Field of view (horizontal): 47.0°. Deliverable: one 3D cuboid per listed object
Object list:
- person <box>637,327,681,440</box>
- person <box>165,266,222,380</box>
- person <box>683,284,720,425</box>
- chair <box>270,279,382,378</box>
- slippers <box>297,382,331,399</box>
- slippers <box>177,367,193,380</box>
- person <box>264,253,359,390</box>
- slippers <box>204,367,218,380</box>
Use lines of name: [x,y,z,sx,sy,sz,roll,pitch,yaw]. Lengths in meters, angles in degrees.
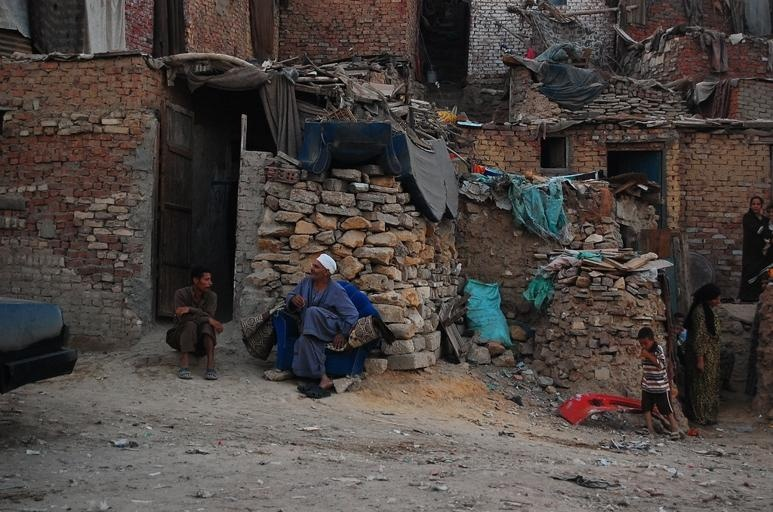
person: [4.104,1.876,13.433,0.676,1.650,0.450,1,3,7]
person: [-2.845,0.953,13.137,0.754,1.605,0.757,0,3,-15]
person: [5.141,1.587,14.508,0.540,2.286,0.427,2,3,17]
chair: [-0.705,1.049,13.427,1.612,1.367,1.415,0,-11,25]
slippers: [-1.027,1.905,12.725,0.479,0.176,0.275,1,2,-6]
slippers: [-2.926,1.681,12.900,0.213,0.147,0.264,1,2,-13]
person: [-1.024,0.979,12.882,1.202,2.002,0.584,1,3,6]
slippers: [-2.558,1.694,12.957,0.185,0.164,0.206,1,2,-12]
